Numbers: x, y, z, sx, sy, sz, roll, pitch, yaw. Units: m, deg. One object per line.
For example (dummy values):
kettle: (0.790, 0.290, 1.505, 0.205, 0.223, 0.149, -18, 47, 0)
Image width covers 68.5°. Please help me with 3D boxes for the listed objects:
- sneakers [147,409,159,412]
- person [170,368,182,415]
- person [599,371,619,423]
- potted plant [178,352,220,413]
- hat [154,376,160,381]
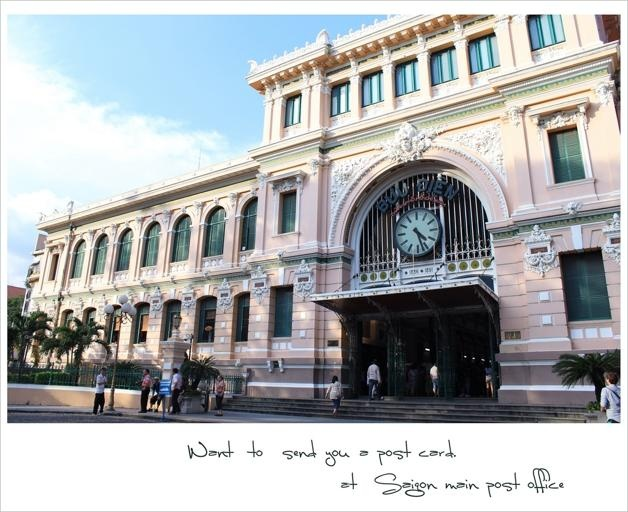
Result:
sneakers: (-6.873, 6.587, 19.725, 0.147, 0.199, 0.469, 23, -24, -40)
person: (-5.549, 5.445, 18.628, 0.413, 1.701, 0.648, 5, -14, -15)
person: (6.688, 3.140, 10.424, 0.369, 1.054, 1.596, -8, -16, 31)
potted plant: (-4.863, 5.340, 19.863, 2.203, 2.487, 2.217, 0, -19, 4)
hat: (-7.099, 5.553, 20.937, 0.227, 0.168, 0.222, 4, -3, -4)
